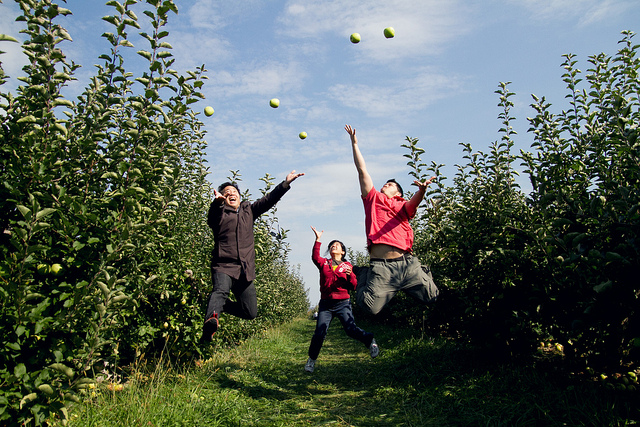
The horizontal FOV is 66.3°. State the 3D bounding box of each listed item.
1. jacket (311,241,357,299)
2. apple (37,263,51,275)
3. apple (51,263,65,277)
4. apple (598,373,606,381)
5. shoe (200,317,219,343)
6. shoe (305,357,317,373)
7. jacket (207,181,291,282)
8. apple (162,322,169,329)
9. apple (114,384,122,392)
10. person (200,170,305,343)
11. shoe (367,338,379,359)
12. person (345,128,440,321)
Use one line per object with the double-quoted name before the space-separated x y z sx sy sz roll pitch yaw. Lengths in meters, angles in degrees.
"jacket" 0.237 0.890 8.213 0.788 1.077 0.603 6 -16 -2
"apple" -2.470 0.498 4.392 0.097 0.097 0.112 5 -27 2
"apple" -2.392 0.520 4.475 0.113 0.130 0.118 11 -9 -23
"apple" 3.229 1.879 5.613 0.069 0.026 0.068 -18 -17 -21
"shoe" -1.466 1.540 6.549 0.172 0.126 0.458 13 -58 -12
"shoe" -0.155 2.503 7.972 0.130 0.157 0.367 23 -24 14
"jacket" -1.110 0.198 6.879 0.452 1.443 1.009 1 -10 40
"apple" -2.275 1.656 7.219 0.082 0.108 0.159 8 -8 -4
"apple" -2.436 2.107 5.916 0.090 0.039 0.087 -3 -1 -5
"person" -1.155 0.645 6.846 0.974 2.384 0.930 9 -8 -11
"shoe" 0.826 2.072 7.529 0.122 0.304 0.316 6 -8 10
"person" 1.019 0.276 6.785 1.222 2.248 0.717 6 -8 13
